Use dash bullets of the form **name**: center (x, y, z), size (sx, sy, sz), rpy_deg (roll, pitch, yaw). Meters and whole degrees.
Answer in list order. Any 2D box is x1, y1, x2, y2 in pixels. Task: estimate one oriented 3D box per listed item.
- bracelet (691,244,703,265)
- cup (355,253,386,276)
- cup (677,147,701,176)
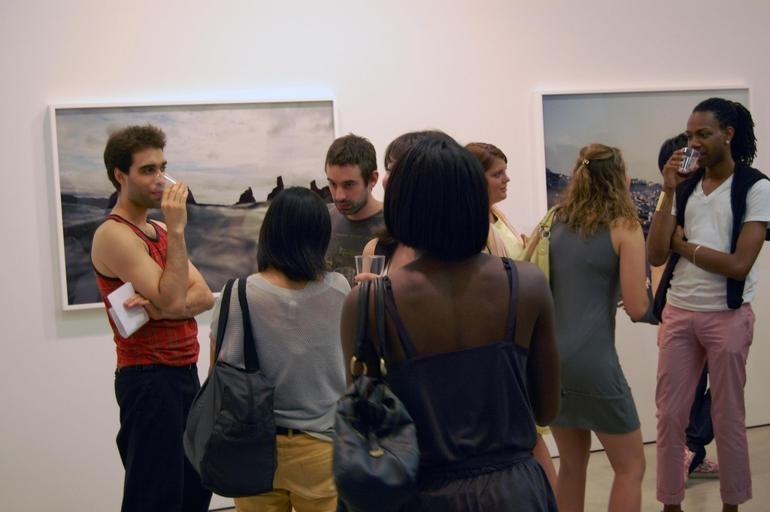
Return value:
- **bracelet**: center (2.088, -0.006, 4.115), size (0.025, 0.103, 0.090), rpy_deg (3, 21, 21)
- **cup**: center (-0.082, 0.049, 3.141), size (0.109, 0.094, 0.101), rpy_deg (-2, -1, 0)
- **cup**: center (1.997, -0.612, 4.002), size (0.136, 0.170, 0.096), rpy_deg (-1, 7, 4)
